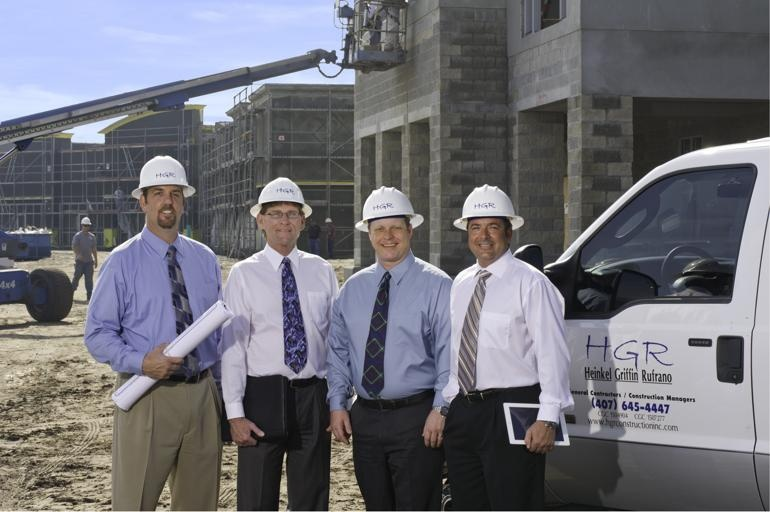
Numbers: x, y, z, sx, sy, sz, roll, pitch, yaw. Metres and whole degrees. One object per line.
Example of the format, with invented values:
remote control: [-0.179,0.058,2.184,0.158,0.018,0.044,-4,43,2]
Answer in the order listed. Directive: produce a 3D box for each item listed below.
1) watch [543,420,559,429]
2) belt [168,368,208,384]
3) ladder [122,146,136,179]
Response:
watch: [1.630,1.647,11.150,0.093,0.038,0.083,7,-14,23]
belt: [-2.033,1.239,11.744,0.375,0.136,0.067,-2,2,-18]
ladder: [-15.307,-5.656,68.352,0.273,1.799,1.732,-14,15,-34]
